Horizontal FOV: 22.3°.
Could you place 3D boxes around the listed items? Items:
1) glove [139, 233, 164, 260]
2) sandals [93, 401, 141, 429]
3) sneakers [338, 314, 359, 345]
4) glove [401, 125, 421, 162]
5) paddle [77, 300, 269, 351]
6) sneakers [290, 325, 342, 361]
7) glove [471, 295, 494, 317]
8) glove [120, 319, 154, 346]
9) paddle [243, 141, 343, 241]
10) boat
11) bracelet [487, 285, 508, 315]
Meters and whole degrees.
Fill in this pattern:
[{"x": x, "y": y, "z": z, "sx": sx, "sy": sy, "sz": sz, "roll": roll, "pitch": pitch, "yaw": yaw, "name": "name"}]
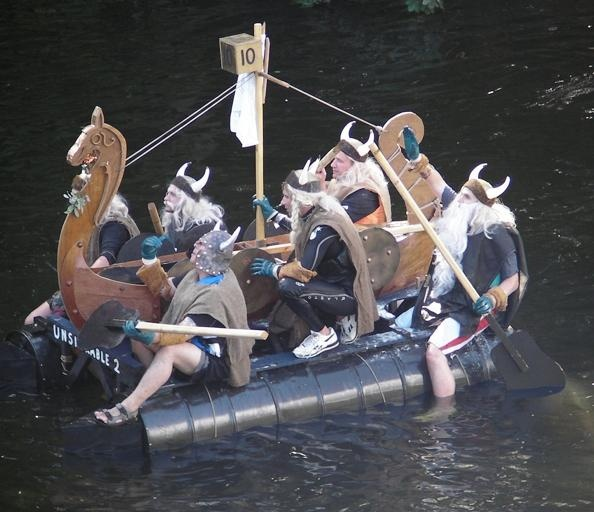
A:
[{"x": -1.665, "y": -0.111, "z": 17.302, "sx": 0.392, "sy": 0.287, "sz": 0.210, "roll": 2, "pitch": 15, "yaw": 0, "name": "glove"}, {"x": -2.021, "y": 1.777, "z": 16.927, "sx": 0.470, "sy": 0.152, "sz": 0.249, "roll": -1, "pitch": 33, "yaw": -18, "name": "sandals"}, {"x": 0.578, "y": 0.858, "z": 17.838, "sx": 0.203, "sy": 0.362, "sz": 0.139, "roll": -5, "pitch": 1, "yaw": -7, "name": "sneakers"}, {"x": 1.391, "y": -1.330, "z": 18.113, "sx": 0.182, "sy": 0.440, "sz": 0.247, "roll": -27, "pitch": 42, "yaw": -19, "name": "glove"}, {"x": -1.417, "y": 0.769, "z": 16.661, "sx": 1.922, "sy": 0.168, "sz": 0.664, "roll": 3, "pitch": 55, "yaw": 7, "name": "paddle"}, {"x": 0.201, "y": 1.020, "z": 17.666, "sx": 0.683, "sy": 0.276, "sz": 0.213, "roll": -23, "pitch": 39, "yaw": -1, "name": "sneakers"}, {"x": 2.138, "y": 0.583, "z": 17.535, "sx": 0.241, "sy": 0.178, "sz": 0.267, "roll": -9, "pitch": 1, "yaw": 36, "name": "glove"}, {"x": -1.750, "y": 0.838, "z": 16.684, "sx": 0.341, "sy": 0.223, "sz": 0.121, "roll": 20, "pitch": 54, "yaw": 21, "name": "glove"}, {"x": 0.072, "y": -0.668, "z": 17.595, "sx": 0.719, "sy": 0.950, "sz": 1.111, "roll": 4, "pitch": -7, "yaw": 18, "name": "paddle"}, {"x": -0.631, "y": 0.169, "z": 18.736, "sx": 7.487, "sy": 3.717, "sz": 3.705, "roll": -5, "pitch": 10, "yaw": -25, "name": "boat"}, {"x": 2.338, "y": 0.508, "z": 17.667, "sx": 0.117, "sy": 0.200, "sz": 0.302, "roll": 10, "pitch": -15, "yaw": 25, "name": "bracelet"}]
